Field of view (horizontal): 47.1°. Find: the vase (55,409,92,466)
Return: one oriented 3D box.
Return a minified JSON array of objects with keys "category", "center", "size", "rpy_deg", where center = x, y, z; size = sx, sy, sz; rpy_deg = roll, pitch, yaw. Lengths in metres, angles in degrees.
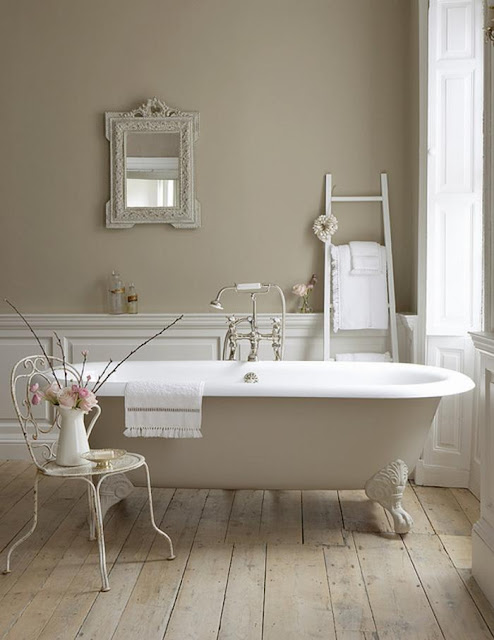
[{"category":"vase","center":[-0.645,0.424,2.088],"size":[0.111,0.216,0.103],"rpy_deg":[-1,3,-17]}]

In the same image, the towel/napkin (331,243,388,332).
[{"category":"towel/napkin","center":[0.684,-0.188,3.459],"size":[0.343,0.521,0.179],"rpy_deg":[-1,-1,5]}]

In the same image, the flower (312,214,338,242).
[{"category":"flower","center":[0.482,-0.564,3.519],"size":[0.148,0.161,0.063],"rpy_deg":[2,4,11]}]

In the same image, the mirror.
[{"category":"mirror","center":[-0.580,-1.030,3.624],"size":[0.849,1.123,0.050],"rpy_deg":[0,1,0]}]

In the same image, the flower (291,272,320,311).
[{"category":"flower","center":[0.365,-0.166,3.590],"size":[0.147,0.244,0.119],"rpy_deg":[0,3,5]}]

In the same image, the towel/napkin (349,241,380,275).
[{"category":"towel/napkin","center":[0.725,-0.380,3.415],"size":[0.157,0.197,0.059],"rpy_deg":[-2,-6,-4]}]
